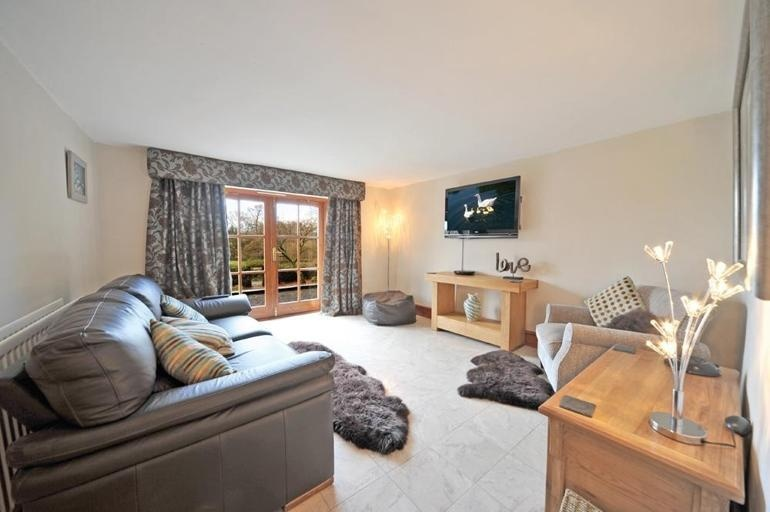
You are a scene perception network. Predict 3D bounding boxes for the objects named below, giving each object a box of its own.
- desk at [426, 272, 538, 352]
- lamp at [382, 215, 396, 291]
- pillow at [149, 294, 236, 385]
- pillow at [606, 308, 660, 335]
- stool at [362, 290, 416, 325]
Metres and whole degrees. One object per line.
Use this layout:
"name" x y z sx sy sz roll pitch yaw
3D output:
"desk" 1.173 0.619 5.696 0.526 0.812 1.264 -4 9 -40
"lamp" 0.035 -0.059 7.525 0.108 1.177 0.172 -3 9 -35
"pillow" -1.428 0.430 3.422 0.502 0.395 0.911 2 2 -17
"pillow" 2.252 0.592 4.188 0.366 0.117 0.362 -42 28 -25
"stool" 0.011 0.733 6.649 0.660 0.359 0.745 0 7 -19
